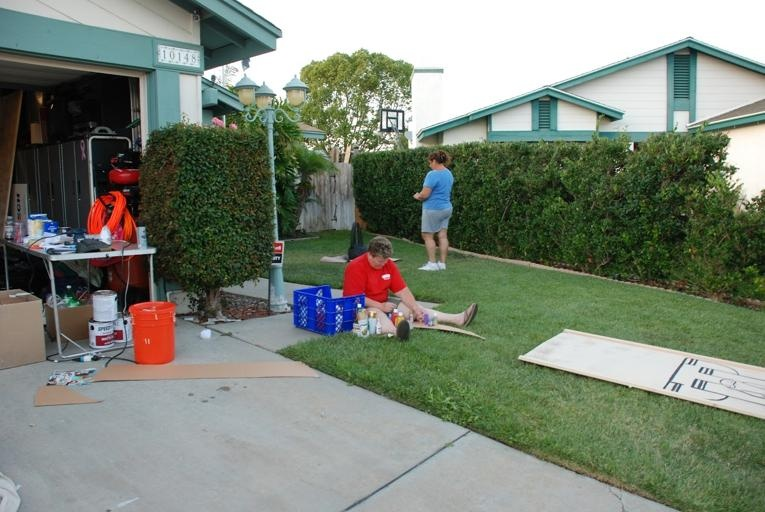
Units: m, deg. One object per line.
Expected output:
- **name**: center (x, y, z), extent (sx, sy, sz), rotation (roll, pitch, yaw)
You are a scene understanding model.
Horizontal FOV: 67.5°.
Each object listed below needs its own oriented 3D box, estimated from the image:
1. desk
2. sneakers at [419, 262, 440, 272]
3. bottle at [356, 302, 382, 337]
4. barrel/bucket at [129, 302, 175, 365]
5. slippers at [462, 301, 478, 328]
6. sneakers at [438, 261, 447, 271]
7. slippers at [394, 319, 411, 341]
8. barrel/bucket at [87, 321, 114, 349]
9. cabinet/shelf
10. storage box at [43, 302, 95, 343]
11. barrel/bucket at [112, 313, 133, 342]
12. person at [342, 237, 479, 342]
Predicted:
- **desk**: center (-3.869, 0.278, 7.551), extent (1.411, 1.324, 2.578), rotation (-1, 3, -38)
- **sneakers**: center (0.896, 0.192, 10.868), extent (0.380, 0.163, 0.155), rotation (1, 0, 12)
- **bottle**: center (-0.191, 0.817, 7.121), extent (0.355, 0.359, 0.272), rotation (-1, -2, 28)
- **barrel/bucket**: center (-2.653, 0.905, 6.708), extent (0.515, 0.595, 0.507), rotation (-4, -3, 0)
- **slippers**: center (1.148, 0.736, 7.421), extent (0.148, 0.375, 0.128), rotation (24, 21, 13)
- **sneakers**: center (1.135, 0.173, 10.914), extent (0.173, 0.151, 0.353), rotation (-1, -4, -2)
- **slippers**: center (0.241, 0.878, 6.893), extent (0.162, 0.238, 0.144), rotation (-2, 13, -4)
- **barrel/bucket**: center (-3.416, 0.918, 6.961), extent (0.318, 0.347, 0.316), rotation (2, 3, 0)
- **cabinet/shelf**: center (-4.984, -1.186, 9.124), extent (1.916, 1.780, 0.628), rotation (3, 2, 39)
- **storage box**: center (-3.977, 0.739, 7.230), extent (0.519, 0.493, 0.515), rotation (-4, 10, -43)
- **barrel/bucket**: center (-3.227, 0.873, 7.119), extent (0.298, 0.322, 0.298), rotation (1, 3, 0)
- **person**: center (0.231, 0.268, 7.449), extent (1.642, 1.124, 1.119), rotation (11, 16, 43)
